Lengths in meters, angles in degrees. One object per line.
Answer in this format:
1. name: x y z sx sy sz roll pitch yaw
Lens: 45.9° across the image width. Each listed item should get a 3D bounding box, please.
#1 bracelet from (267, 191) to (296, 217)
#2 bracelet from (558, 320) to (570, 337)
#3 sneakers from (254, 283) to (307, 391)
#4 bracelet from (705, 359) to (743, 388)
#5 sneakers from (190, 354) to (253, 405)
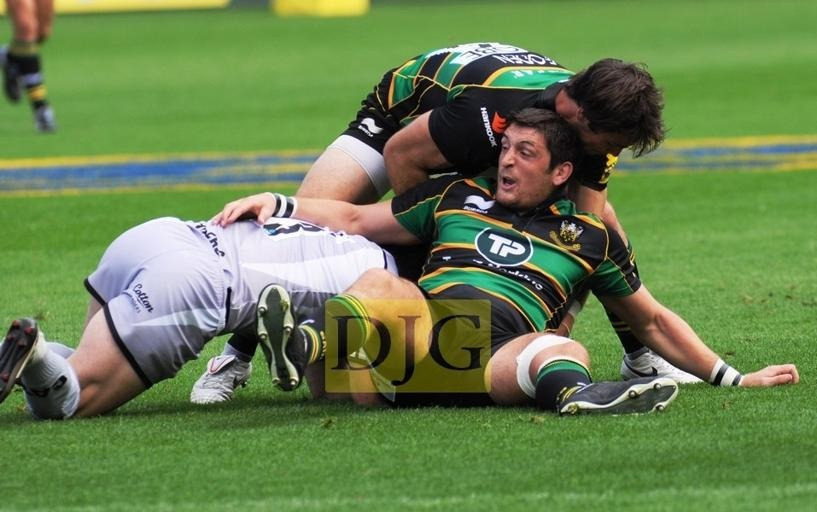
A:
1. bracelet: -0.699 -0.284 5.240 0.142 0.127 0.129 0 5 -21
2. bracelet: 0.873 0.402 5.371 0.069 0.067 0.094 -1 2 -6
3. sneakers: -0.600 0.381 4.513 0.229 0.468 0.199 -3 17 -7
4. bracelet: 1.644 0.621 5.016 0.177 0.111 0.075 31 -14 21
5. sneakers: -1.016 0.651 5.273 0.149 0.170 0.390 20 35 23
